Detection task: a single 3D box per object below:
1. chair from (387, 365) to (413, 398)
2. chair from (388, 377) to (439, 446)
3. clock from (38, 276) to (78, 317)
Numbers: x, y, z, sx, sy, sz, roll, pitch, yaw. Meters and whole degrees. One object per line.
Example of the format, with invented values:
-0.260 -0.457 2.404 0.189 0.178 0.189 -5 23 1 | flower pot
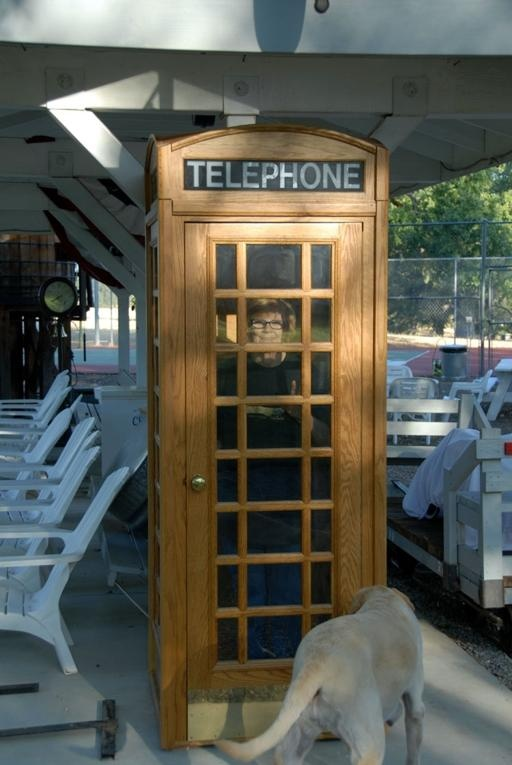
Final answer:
2.026 -0.012 11.154 0.383 0.548 0.399 1 11 9 | chair
2.060 0.411 10.521 0.655 0.948 3.328 1 2 12 | chair
-2.912 -1.277 11.540 0.519 0.538 0.233 0 1 -20 | clock
